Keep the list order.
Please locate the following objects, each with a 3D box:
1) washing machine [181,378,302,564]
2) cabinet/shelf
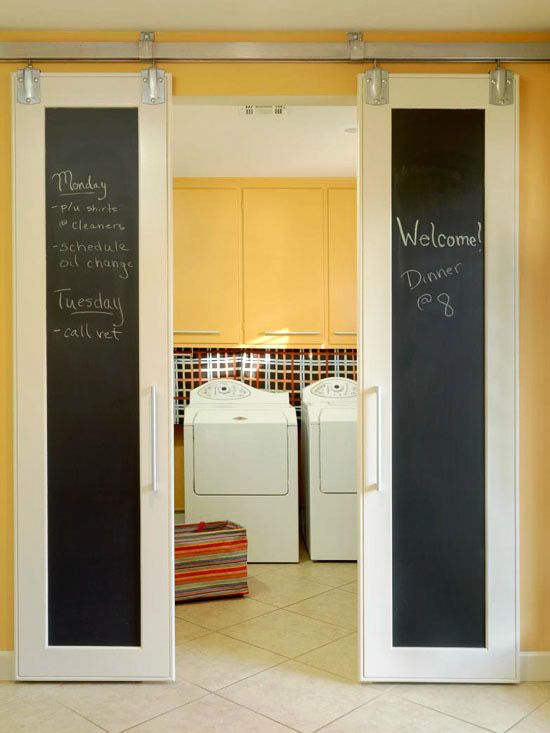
[{"bbox_3d":[-0.216,0.627,4.318,0.533,1.178,0.601,0,-14,0],"label":"washing machine"},{"bbox_3d":[-0.084,-0.693,4.508,0.750,0.918,0.314,0,1,-3],"label":"cabinet/shelf"}]
